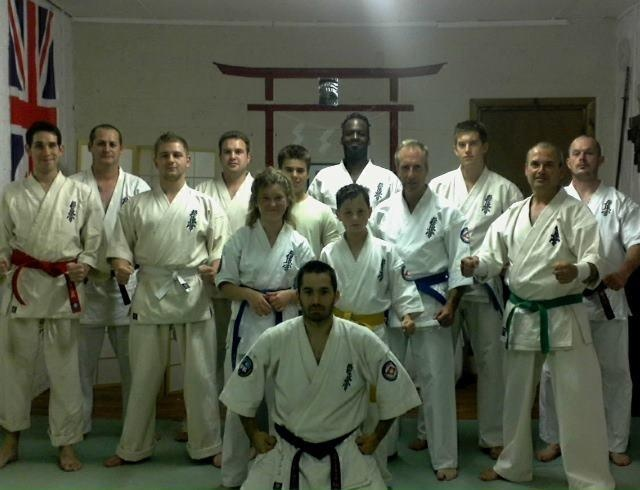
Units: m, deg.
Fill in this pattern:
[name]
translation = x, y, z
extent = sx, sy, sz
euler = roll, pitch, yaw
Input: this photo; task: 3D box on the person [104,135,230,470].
[person]
translation = -0.862, 0.297, 3.840
extent = 0.664, 1.844, 0.383
euler = -1, 6, -3
